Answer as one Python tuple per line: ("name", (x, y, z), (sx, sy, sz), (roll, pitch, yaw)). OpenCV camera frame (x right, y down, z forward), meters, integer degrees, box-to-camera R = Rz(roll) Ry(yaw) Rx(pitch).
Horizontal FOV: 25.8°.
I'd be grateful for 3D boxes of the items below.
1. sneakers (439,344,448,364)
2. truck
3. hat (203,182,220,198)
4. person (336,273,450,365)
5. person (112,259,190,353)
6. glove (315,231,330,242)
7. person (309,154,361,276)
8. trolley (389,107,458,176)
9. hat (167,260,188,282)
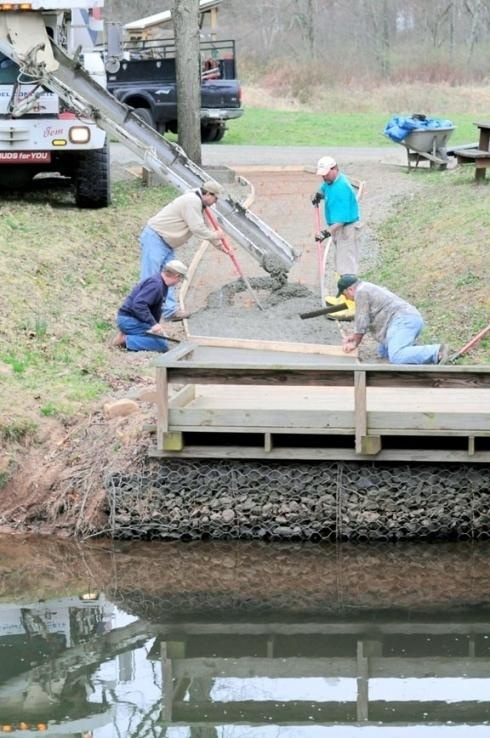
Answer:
("sneakers", (1.483, -0.119, 8.125), (0.047, 0.121, 0.095), (18, -20, -22))
("truck", (-1.471, -5.026, 19.489), (2.095, 1.658, 3.349), (-9, 24, -24))
("hat", (-0.333, -1.658, 9.867), (0.132, 0.107, 0.188), (33, 27, 22))
("person", (1.053, -0.390, 8.414), (1.012, 0.631, 0.517), (19, 15, 20))
("person", (-0.872, -0.552, 9.728), (0.624, 0.946, 0.540), (10, 55, -17))
("glove", (0.712, -1.289, 10.337), (0.144, 0.062, 0.179), (-11, -1, -27))
("person", (0.862, -1.466, 10.427), (0.431, 1.210, 0.633), (-4, 16, 3))
("trolley", (2.777, -3.701, 17.445), (0.938, 0.890, 1.184), (-8, 15, -14))
("hat", (-0.557, -0.821, 8.843), (0.129, 0.102, 0.184), (32, 3, 41))
